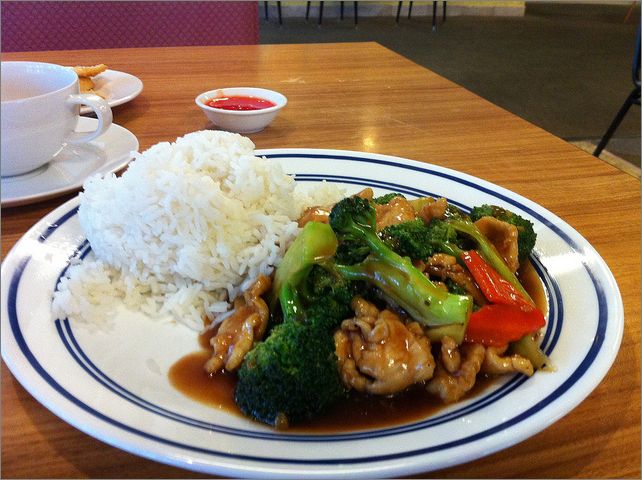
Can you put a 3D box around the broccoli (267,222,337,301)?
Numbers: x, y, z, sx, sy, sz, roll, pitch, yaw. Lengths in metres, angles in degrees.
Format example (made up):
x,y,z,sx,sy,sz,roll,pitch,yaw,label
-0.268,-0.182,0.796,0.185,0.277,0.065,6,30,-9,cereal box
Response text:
x,y,z,sx,sy,sz,roll,pitch,yaw,label
-0.078,0.093,1.988,0.181,0.339,0.080,28,4,18,broccoli

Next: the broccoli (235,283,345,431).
x,y,z,sx,sy,sz,roll,pitch,yaw,label
-0.114,0.431,1.729,0.358,0.202,0.287,-14,43,-17,broccoli
